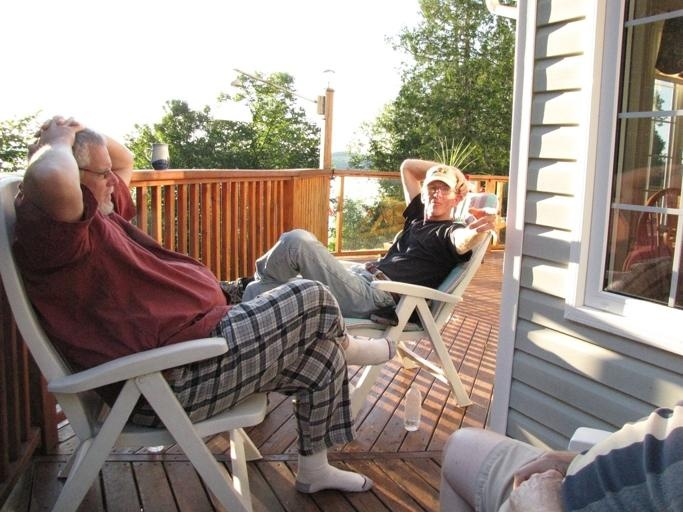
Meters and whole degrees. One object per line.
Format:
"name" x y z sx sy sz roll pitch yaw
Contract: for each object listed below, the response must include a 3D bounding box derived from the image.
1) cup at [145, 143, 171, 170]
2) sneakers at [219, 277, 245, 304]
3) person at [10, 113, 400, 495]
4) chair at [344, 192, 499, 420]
"cup" -1.313 -0.732 3.828 0.213 0.226 0.149 -1 7 -38
"sneakers" -0.617 0.190 2.862 0.146 0.161 0.055 -6 -16 14
"person" -0.483 0.217 2.105 1.320 1.528 1.031 -6 15 -14
"chair" 0.437 0.332 3.158 0.942 1.049 0.738 1 -4 0
